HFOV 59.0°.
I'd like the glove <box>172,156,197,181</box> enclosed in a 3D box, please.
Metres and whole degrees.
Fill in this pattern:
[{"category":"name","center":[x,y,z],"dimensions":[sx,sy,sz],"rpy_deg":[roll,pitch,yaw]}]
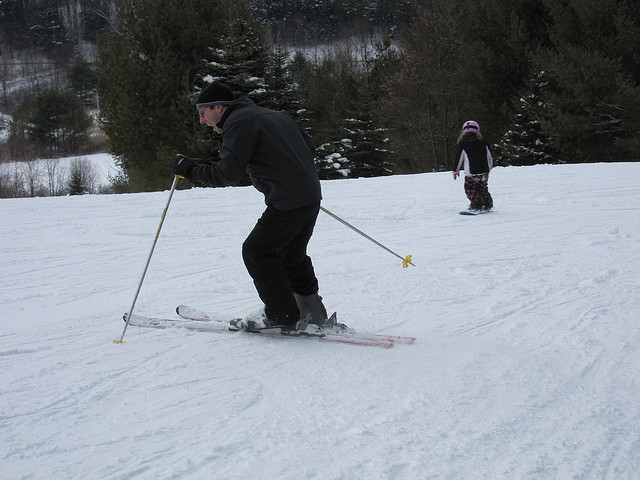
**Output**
[{"category":"glove","center":[-1.074,-0.565,4.498],"dimensions":[0.196,0.161,0.164],"rpy_deg":[27,7,35]}]

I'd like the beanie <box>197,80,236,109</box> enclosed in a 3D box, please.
[{"category":"beanie","center":[-0.821,-1.140,4.494],"dimensions":[0.239,0.133,0.228],"rpy_deg":[-3,18,7]}]

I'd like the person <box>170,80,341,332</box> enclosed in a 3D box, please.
[{"category":"person","center":[-0.416,-0.137,4.502],"dimensions":[1.051,1.794,0.446],"rpy_deg":[-4,15,-12]}]

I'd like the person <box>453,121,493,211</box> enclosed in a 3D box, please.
[{"category":"person","center":[2.636,-1.280,9.725],"dimensions":[0.672,1.442,0.863],"rpy_deg":[-3,15,-8]}]

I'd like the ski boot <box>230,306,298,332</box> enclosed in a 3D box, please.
[{"category":"ski boot","center":[-0.492,0.649,4.767],"dimensions":[0.617,0.228,0.194],"rpy_deg":[4,8,11]}]

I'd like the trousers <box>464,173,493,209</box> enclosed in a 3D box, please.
[{"category":"trousers","center":[2.720,-0.845,9.675],"dimensions":[0.422,0.569,0.428],"rpy_deg":[0,15,2]}]
